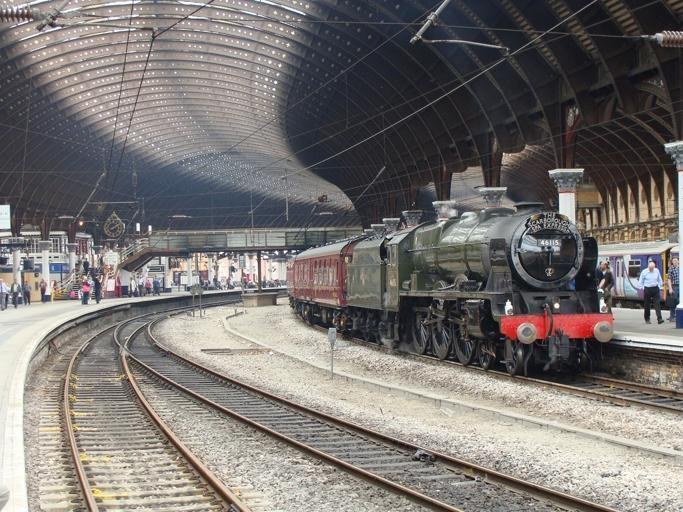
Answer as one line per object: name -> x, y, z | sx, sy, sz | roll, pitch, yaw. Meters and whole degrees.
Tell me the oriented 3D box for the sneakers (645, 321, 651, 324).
sneakers -> 10.813, 2.334, 22.957 | 0.071, 0.093, 0.216 | 0, -6, 0
